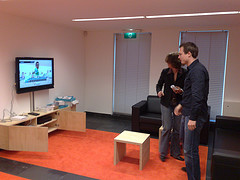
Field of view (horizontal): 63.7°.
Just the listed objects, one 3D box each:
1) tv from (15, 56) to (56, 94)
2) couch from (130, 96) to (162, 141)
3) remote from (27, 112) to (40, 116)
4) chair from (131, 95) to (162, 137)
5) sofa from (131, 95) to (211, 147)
[{"bbox_3d":[-2.162,-0.392,5.032,1.448,0.874,0.107,-1,-1,27],"label":"tv"},{"bbox_3d":[1.003,0.671,5.339,1.071,0.880,0.763,-5,15,42],"label":"couch"},{"bbox_3d":[-2.107,0.596,4.712,0.265,0.028,0.283,-2,9,-22],"label":"remote"},{"bbox_3d":[1.002,0.675,5.347,1.068,0.868,0.761,-3,16,43],"label":"chair"},{"bbox_3d":[1.249,0.724,5.286,1.666,0.847,0.871,2,10,28],"label":"sofa"}]
